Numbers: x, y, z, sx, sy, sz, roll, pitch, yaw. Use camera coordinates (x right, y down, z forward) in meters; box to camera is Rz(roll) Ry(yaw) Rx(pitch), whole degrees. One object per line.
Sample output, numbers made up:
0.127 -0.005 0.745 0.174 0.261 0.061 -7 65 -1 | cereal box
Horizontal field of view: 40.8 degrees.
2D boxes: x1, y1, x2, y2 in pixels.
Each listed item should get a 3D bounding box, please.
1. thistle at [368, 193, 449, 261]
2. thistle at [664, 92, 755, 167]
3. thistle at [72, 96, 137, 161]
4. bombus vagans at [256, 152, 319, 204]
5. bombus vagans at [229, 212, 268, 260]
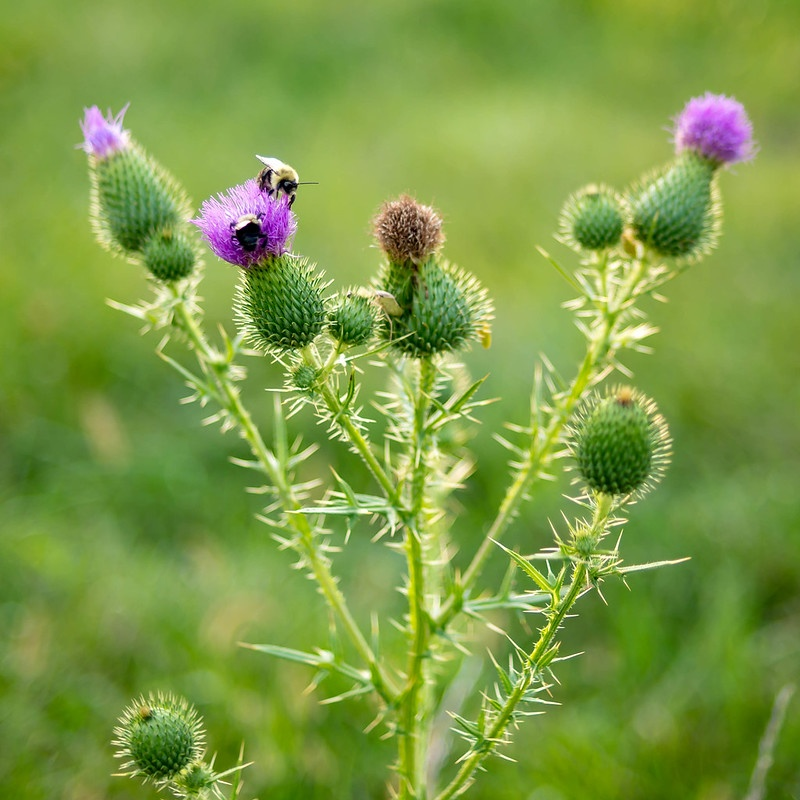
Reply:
0.044 -0.800 5.095 0.273 0.336 0.338 -3 -40 -6 | thistle
1.583 -1.357 5.398 0.406 0.282 0.277 4 -43 11 | thistle
-1.409 -1.267 5.192 0.323 0.188 0.408 -7 -10 -1 | thistle
-0.599 -1.110 5.167 0.207 0.279 0.113 16 -75 -39 | bombus vagans
-0.692 -0.773 4.969 0.136 0.135 0.203 -2 -46 16 | bombus vagans
